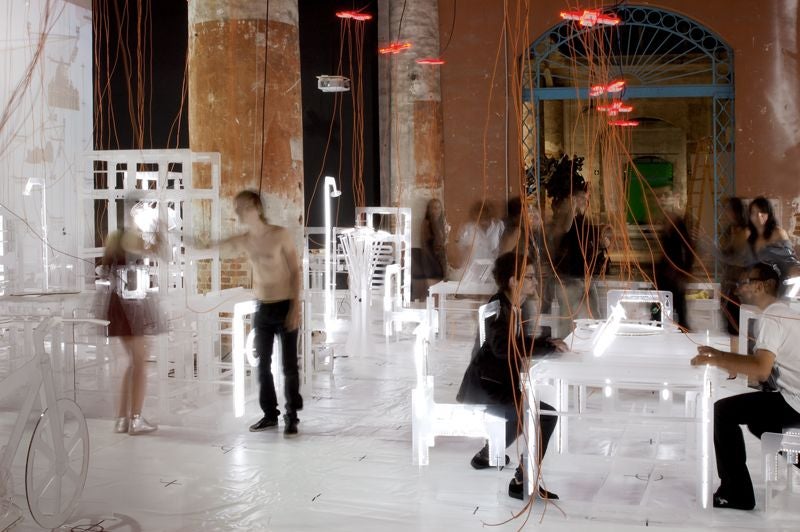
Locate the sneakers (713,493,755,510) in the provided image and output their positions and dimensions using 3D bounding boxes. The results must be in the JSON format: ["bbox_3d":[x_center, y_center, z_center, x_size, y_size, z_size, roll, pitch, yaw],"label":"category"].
[{"bbox_3d":[2.490,1.751,5.727,0.291,0.112,0.053,2,3,10],"label":"sneakers"}]

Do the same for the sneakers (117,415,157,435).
[{"bbox_3d":[-2.388,1.420,6.899,0.271,0.124,0.173,-1,1,-11],"label":"sneakers"}]

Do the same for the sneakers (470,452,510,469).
[{"bbox_3d":[0.733,1.577,6.332,0.327,0.157,0.128,-2,3,3],"label":"sneakers"}]

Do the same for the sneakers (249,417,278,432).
[{"bbox_3d":[-1.239,1.426,6.953,0.242,0.107,0.111,2,-2,-11],"label":"sneakers"}]

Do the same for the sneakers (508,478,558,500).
[{"bbox_3d":[1.022,1.684,5.870,0.410,0.184,0.148,-1,2,10],"label":"sneakers"}]

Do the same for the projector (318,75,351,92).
[{"bbox_3d":[-0.985,-2.702,11.466,0.482,0.218,0.411,-1,8,-3],"label":"projector"}]

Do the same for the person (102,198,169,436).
[{"bbox_3d":[-2.380,0.443,6.867,0.537,2.084,0.404,0,3,-23],"label":"person"}]
